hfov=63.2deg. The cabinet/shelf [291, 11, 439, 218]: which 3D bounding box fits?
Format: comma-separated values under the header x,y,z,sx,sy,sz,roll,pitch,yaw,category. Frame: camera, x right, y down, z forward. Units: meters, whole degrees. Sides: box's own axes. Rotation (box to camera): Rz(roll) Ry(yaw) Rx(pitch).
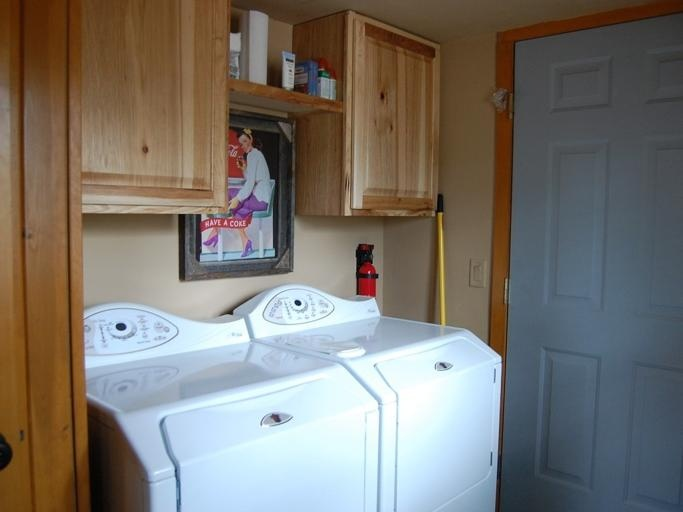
x,y,z,sx,sy,sz,roll,pitch,yaw,category
0.078,-0.651,2.503,0.369,1.021,0.826,-1,-2,39,cabinet/shelf
